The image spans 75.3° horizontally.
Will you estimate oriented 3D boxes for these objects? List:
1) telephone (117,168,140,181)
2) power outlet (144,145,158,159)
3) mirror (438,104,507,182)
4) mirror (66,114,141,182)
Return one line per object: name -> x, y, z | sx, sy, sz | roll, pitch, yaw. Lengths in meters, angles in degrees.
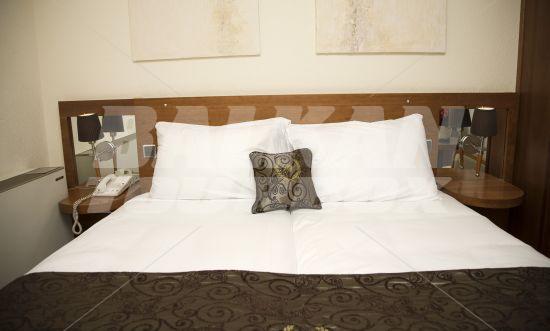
telephone -> -1.511, 0.095, 3.697 | 0.215, 0.100, 0.119 | 7, 1, -10
power outlet -> -1.247, -0.145, 3.603 | 0.156, 0.149, 0.017 | 4, 14, 1
mirror -> 2.131, -0.258, 3.746 | 0.263, 0.678, 0.426 | 3, 16, 7
mirror -> -1.741, -0.215, 3.687 | 0.735, 0.795, 0.053 | -1, 15, -2
